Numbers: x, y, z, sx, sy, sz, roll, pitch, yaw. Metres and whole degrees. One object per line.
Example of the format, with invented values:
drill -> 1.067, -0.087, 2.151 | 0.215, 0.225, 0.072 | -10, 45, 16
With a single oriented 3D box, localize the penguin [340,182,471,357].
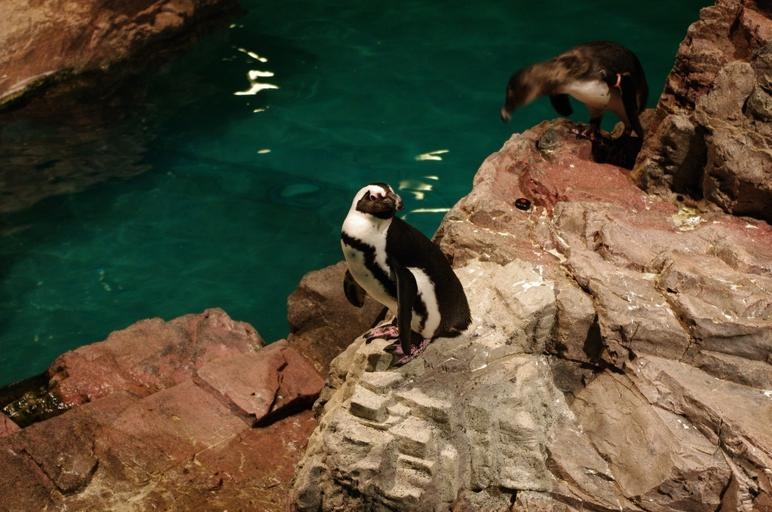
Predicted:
penguin -> 0.119, 0.118, 8.756 | 0.753, 1.378, 0.854 | -28, 44, -24

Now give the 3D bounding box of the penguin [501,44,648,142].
penguin -> 1.705, -1.507, 10.057 | 1.396, 0.733, 0.817 | -10, 30, 7
